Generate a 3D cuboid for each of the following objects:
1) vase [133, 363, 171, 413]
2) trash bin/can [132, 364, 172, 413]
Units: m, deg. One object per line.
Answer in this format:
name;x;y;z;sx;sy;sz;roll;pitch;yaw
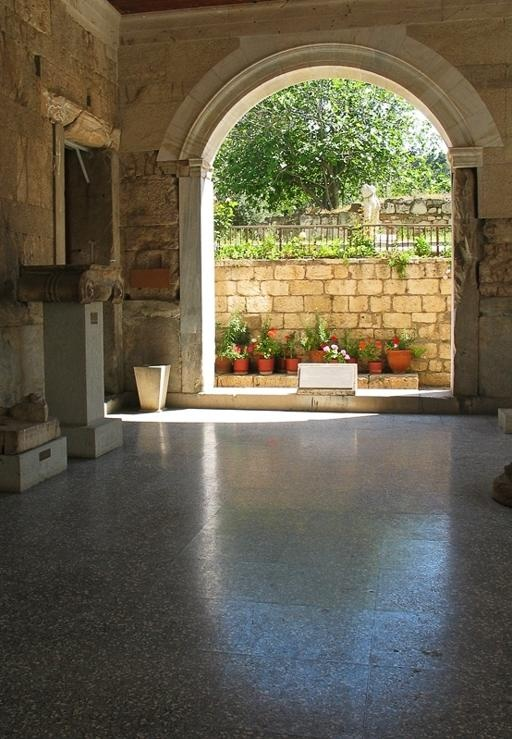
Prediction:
vase;-0.984;0.180;6.812;0.430;0.609;0.441;0;0;1
trash bin/can;-1.011;0.177;6.817;0.430;0.611;0.442;0;0;1
